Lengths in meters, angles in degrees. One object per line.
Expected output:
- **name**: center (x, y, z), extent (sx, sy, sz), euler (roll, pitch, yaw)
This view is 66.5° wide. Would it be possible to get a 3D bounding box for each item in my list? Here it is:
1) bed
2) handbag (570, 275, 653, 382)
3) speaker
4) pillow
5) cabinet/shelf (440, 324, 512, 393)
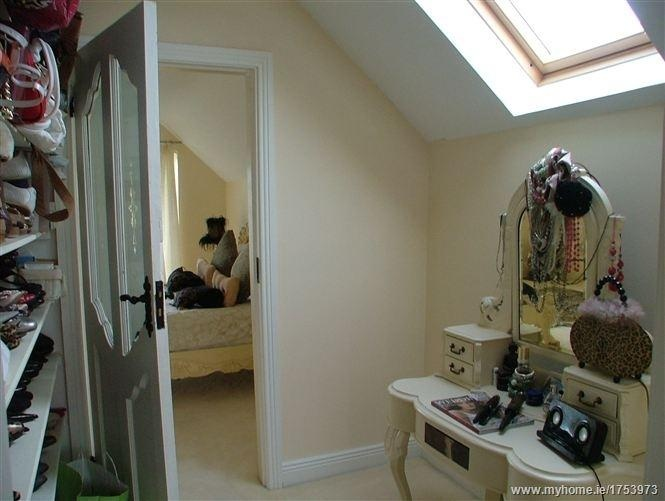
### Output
- **bed**: center (-0.964, 0.403, 3.997), extent (0.598, 0.687, 1.266), euler (0, 7, -12)
- **handbag**: center (1.019, 0.288, 1.829), extent (0.137, 0.396, 0.341), euler (3, -3, -13)
- **speaker**: center (0.833, 0.618, 1.767), extent (0.144, 0.174, 0.213), euler (6, 2, -16)
- **pillow**: center (-0.946, 0.108, 4.471), extent (0.281, 0.273, 0.663), euler (-19, 30, -7)
- **cabinet/shelf**: center (0.655, 0.445, 2.327), extent (0.220, 0.281, 0.274), euler (-3, 7, -23)
